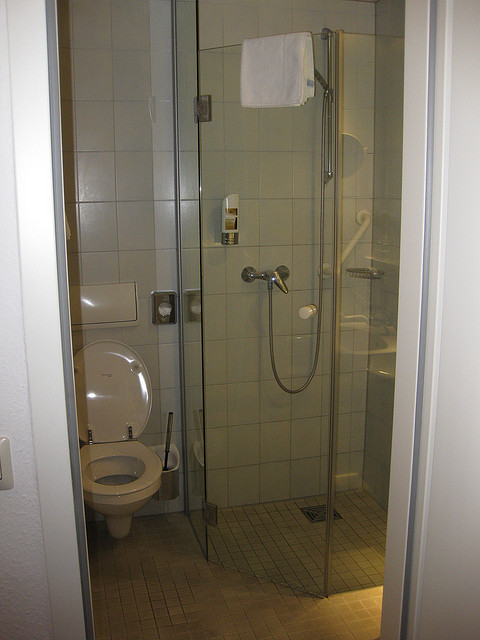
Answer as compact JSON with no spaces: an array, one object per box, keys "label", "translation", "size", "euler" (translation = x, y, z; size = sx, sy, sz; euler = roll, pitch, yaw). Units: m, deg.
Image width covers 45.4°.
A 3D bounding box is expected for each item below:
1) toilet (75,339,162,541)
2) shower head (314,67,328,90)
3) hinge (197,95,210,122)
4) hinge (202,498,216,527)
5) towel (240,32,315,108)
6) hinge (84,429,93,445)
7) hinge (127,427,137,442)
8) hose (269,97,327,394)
[{"label":"toilet","translation":[-0.485,0.418,2.263],"size":[0.300,0.616,0.461],"euler":[-3,10,-17]},{"label":"shower head","translation":[0.244,-0.733,1.742],"size":[0.051,0.052,0.014],"euler":[-7,11,-34]},{"label":"hinge","translation":[-0.125,-0.728,1.965],"size":[0.012,0.114,0.072],"euler":[-11,16,-43]},{"label":"hinge","translation":[-0.120,0.759,2.269],"size":[0.072,0.092,0.057],"euler":[2,4,21]},{"label":"towel","translation":[0.106,-0.767,1.767],"size":[0.234,0.205,0.079],"euler":[11,26,34]},{"label":"hinge","translation":[-0.616,0.476,2.349],"size":[0.035,0.055,0.050],"euler":[5,-2,-6]},{"label":"hinge","translation":[-0.455,0.475,2.389],"size":[0.031,0.057,0.013],"euler":[-2,9,-13]},{"label":"hose","translation":[0.204,-0.220,1.956],"size":[0.234,0.991,0.071],"euler":[8,12,42]}]
